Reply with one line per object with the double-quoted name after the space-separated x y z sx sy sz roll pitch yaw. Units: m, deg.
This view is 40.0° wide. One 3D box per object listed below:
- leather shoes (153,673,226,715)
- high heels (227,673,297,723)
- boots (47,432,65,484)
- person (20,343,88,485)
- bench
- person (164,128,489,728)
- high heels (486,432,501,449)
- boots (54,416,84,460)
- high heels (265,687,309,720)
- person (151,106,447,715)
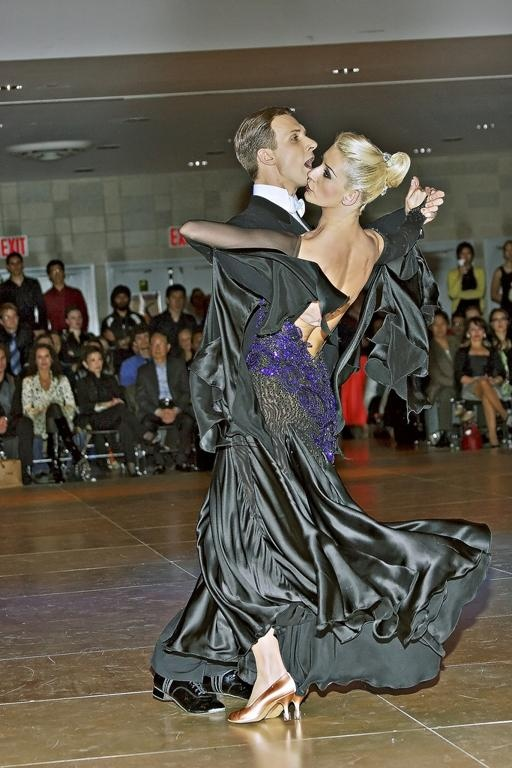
-0.161 0.740 1.665 0.200 0.070 0.071 5 3 30 "leather shoes"
0.029 0.708 1.581 0.222 0.106 0.074 -15 -19 30 "high heels"
-2.175 0.809 7.578 0.160 0.626 0.209 -13 -31 5 "boots"
-2.330 0.261 7.834 0.657 1.589 0.569 -6 -21 -22 "person"
-1.561 0.791 7.759 2.288 0.583 0.745 -1 -9 0 "bench"
0.167 0.116 1.660 0.794 1.344 0.465 -3 3 -27 "person"
2.907 0.689 8.563 0.178 0.153 0.424 -1 -6 3 "high heels"
-2.030 0.574 7.607 0.172 0.590 0.164 -25 5 7 "boots"
0.070 0.717 1.596 0.068 0.041 0.112 -1 5 -8 "high heels"
0.191 0.103 1.643 0.845 1.263 0.716 3 0 6 "person"
